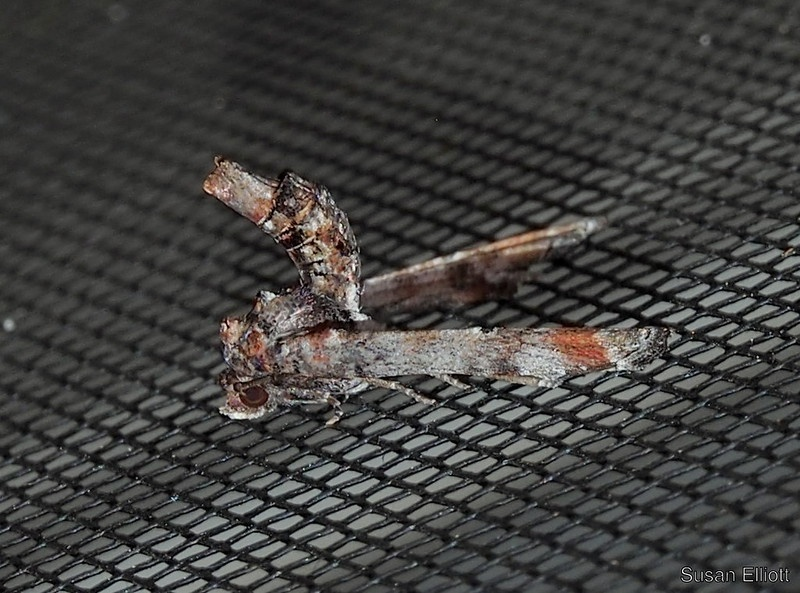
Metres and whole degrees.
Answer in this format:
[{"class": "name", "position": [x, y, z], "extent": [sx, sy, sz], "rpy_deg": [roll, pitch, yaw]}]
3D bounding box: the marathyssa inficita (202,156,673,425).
[{"class": "marathyssa inficita", "position": [-0.102, -0.028, 1.199], "extent": [0.703, 0.250, 0.256], "rpy_deg": [-7, -62, 5]}]
